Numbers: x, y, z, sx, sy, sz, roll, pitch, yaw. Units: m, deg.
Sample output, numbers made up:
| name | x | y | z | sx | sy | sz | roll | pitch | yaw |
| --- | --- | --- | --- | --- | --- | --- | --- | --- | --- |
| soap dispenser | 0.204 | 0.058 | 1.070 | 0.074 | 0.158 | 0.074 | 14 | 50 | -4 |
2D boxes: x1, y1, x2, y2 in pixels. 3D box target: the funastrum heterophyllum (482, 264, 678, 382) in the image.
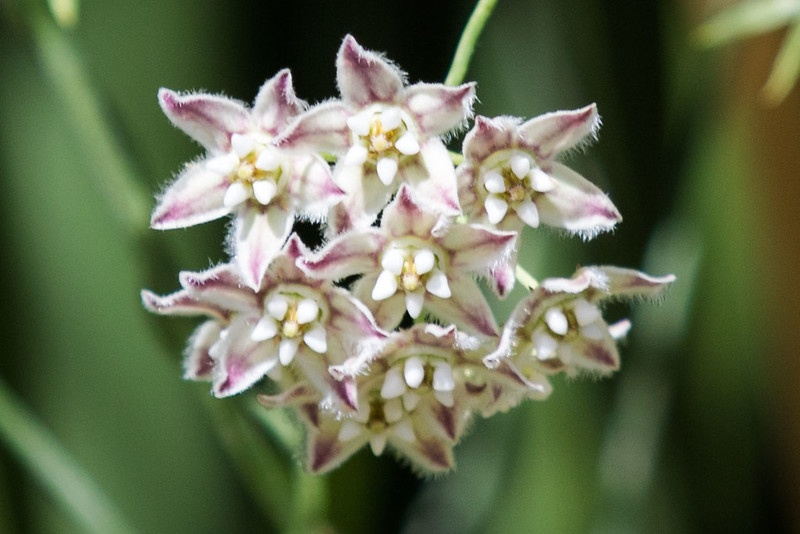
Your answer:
| name | x | y | z | sx | sy | sz | roll | pitch | yaw |
| --- | --- | --- | --- | --- | --- | --- | --- | --- | --- |
| funastrum heterophyllum | 0.542 | 0.161 | 2.839 | 0.417 | 0.400 | 0.144 | -28 | 49 | -13 |

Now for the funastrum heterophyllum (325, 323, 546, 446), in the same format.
| name | x | y | z | sx | sy | sz | roll | pitch | yaw |
| --- | --- | --- | --- | --- | --- | --- | --- | --- | --- |
| funastrum heterophyllum | 0.091 | 0.303 | 2.970 | 0.586 | 0.184 | 0.704 | -2 | 7 | 31 |
